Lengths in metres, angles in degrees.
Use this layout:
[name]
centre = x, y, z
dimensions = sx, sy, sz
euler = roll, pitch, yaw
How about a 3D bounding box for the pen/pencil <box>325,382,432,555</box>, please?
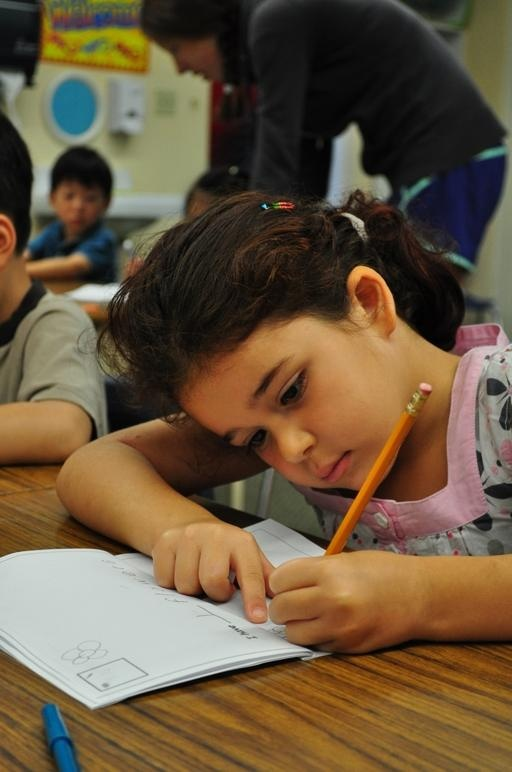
[pen/pencil]
centre = 0.125, 0.076, 0.725
dimensions = 0.024, 0.211, 0.017
euler = 34, 6, 20
